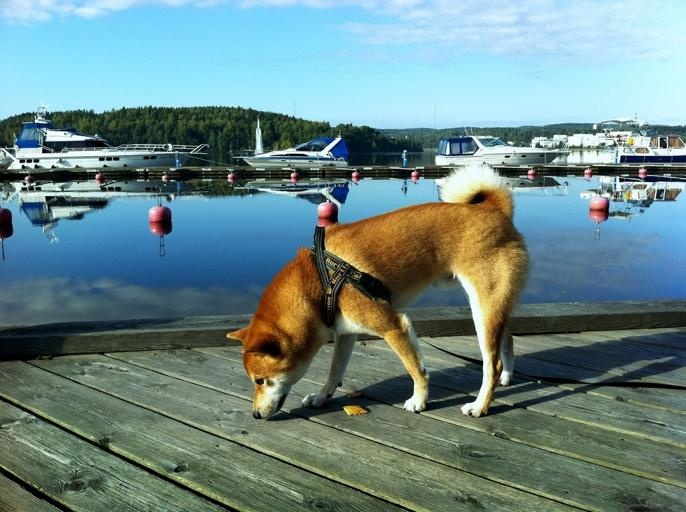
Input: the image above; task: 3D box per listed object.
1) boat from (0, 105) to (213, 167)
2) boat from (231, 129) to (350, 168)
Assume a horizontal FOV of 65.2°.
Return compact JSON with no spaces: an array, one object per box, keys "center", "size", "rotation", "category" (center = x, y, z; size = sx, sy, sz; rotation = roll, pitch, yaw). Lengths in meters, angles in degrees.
[{"center":[-16.064,-6.899,33.114],"size":[9.872,2.898,2.869],"rotation":[0,13,6],"category":"boat"},{"center":[-4.267,-6.816,34.565],"size":[9.290,2.539,2.376],"rotation":[1,13,4],"category":"boat"}]
